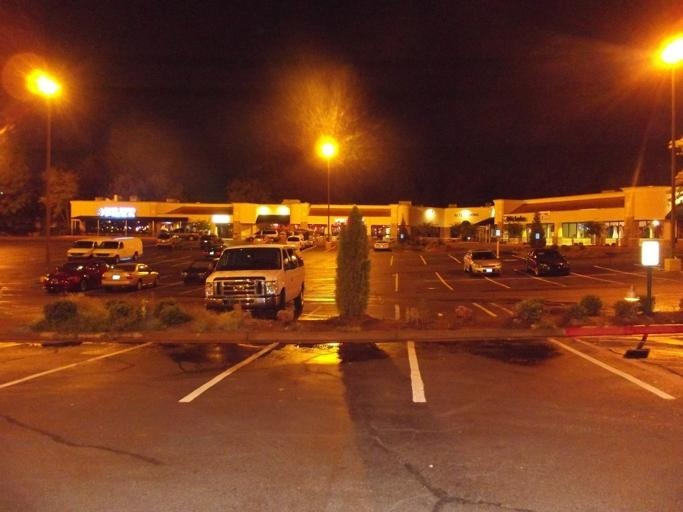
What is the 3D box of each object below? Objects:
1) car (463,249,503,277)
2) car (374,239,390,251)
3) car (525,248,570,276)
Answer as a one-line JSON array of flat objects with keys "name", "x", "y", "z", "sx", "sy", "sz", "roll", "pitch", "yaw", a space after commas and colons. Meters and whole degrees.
[{"name": "car", "x": 8.304, "y": 0.470, "z": 37.533, "sx": 1.483, "sy": 1.359, "sz": 2.947, "roll": -1, "pitch": 7, "yaw": -3}, {"name": "car", "x": 4.112, "y": -1.127, "z": 63.928, "sx": 0.947, "sy": 0.790, "sz": 2.250, "roll": 1, "pitch": 8, "yaw": 6}, {"name": "car", "x": 11.790, "y": 0.394, "z": 36.132, "sx": 1.642, "sy": 1.487, "sz": 2.692, "roll": 0, "pitch": 7, "yaw": 4}]
